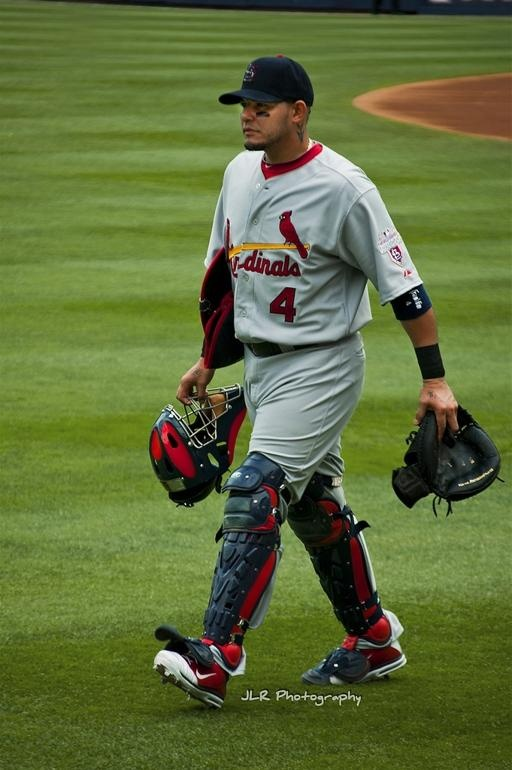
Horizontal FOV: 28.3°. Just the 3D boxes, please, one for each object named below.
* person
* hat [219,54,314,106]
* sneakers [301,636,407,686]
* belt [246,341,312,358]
[{"bbox_3d":[0.148,-0.002,2.802,0.769,1.778,1.079,1,13,-2],"label":"person"},{"bbox_3d":[0.029,-0.840,2.802,0.257,0.140,0.203,1,12,-1],"label":"hat"},{"bbox_3d":[0.292,0.802,2.983,0.317,0.111,0.113,-4,-4,-30],"label":"sneakers"},{"bbox_3d":[0.059,-0.098,2.815,0.095,0.027,0.072,-9,7,4],"label":"belt"}]
